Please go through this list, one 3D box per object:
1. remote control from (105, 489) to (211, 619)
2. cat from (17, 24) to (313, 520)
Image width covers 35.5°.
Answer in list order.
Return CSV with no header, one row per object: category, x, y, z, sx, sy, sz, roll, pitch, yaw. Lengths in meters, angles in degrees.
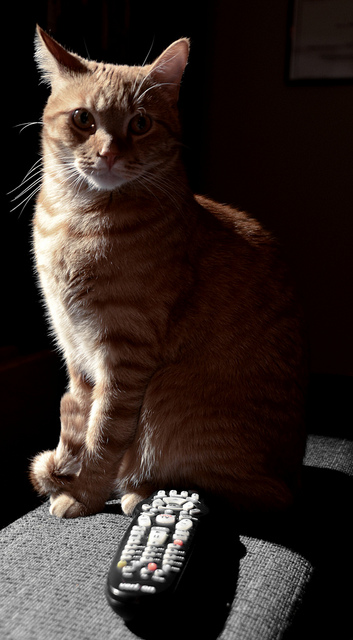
remote control,-0.015,0.256,0.635,0.086,0.046,0.255,3,5,10
cat,0.008,-0.072,0.816,0.448,0.686,0.272,-3,8,-18
